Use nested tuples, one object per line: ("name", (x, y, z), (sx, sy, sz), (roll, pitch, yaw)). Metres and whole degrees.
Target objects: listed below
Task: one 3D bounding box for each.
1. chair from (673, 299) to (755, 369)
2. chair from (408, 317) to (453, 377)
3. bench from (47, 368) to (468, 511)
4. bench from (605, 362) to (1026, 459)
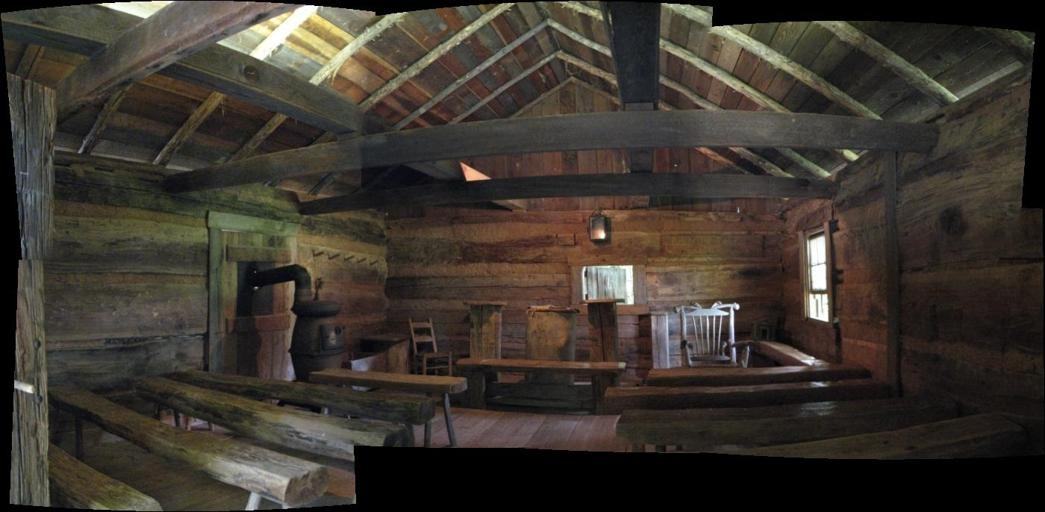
("chair", (3.293, 1.340, 10.553), (1.630, 1.530, 1.249), (-1, -15, 8))
("chair", (-1.806, 1.830, 11.861), (0.845, 0.896, 0.774), (5, 7, 43))
("bench", (-3.117, 2.027, 7.018), (3.788, 1.281, 1.512), (-6, -9, 22))
("bench", (3.262, 1.805, 6.761), (2.965, 0.450, 1.470), (0, -6, 3))
